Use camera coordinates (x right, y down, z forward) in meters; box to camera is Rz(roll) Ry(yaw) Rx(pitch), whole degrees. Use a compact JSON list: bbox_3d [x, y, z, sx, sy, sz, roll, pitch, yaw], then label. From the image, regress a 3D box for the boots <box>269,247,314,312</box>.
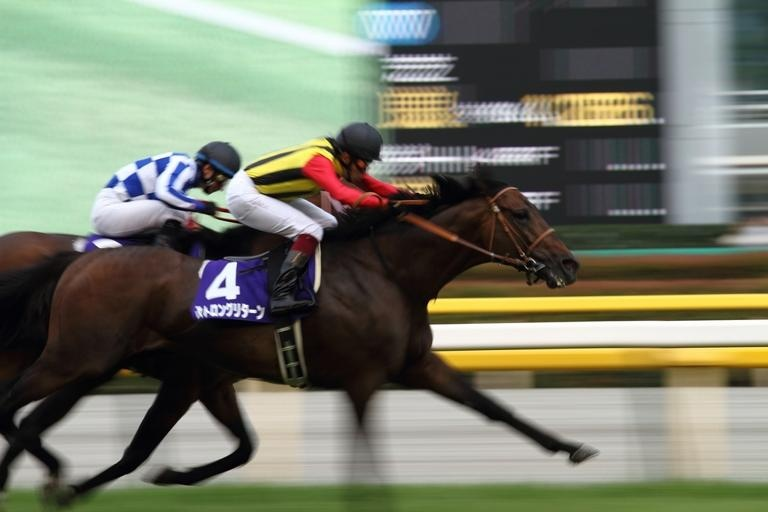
[{"bbox_3d":[-0.505,0.148,7.953,0.248,0.357,0.176,5,10,-2],"label":"boots"}]
